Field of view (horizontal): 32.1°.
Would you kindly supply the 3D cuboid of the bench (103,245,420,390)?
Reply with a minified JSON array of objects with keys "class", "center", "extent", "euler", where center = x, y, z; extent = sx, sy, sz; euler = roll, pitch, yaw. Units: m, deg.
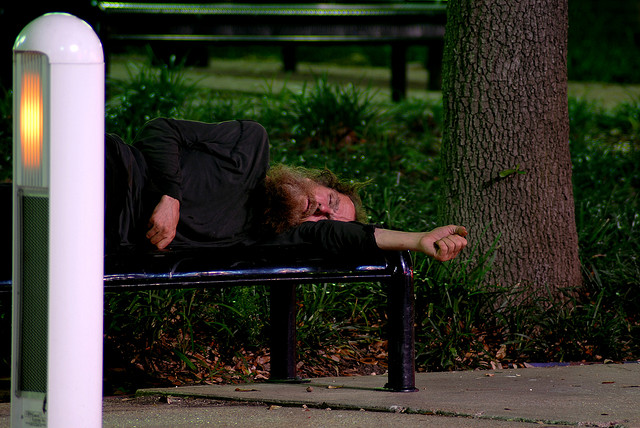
[{"class":"bench","center":[-0.075,0.641,6.960],"extent":[1.425,0.951,2.282],"euler":[2,2,26]}]
